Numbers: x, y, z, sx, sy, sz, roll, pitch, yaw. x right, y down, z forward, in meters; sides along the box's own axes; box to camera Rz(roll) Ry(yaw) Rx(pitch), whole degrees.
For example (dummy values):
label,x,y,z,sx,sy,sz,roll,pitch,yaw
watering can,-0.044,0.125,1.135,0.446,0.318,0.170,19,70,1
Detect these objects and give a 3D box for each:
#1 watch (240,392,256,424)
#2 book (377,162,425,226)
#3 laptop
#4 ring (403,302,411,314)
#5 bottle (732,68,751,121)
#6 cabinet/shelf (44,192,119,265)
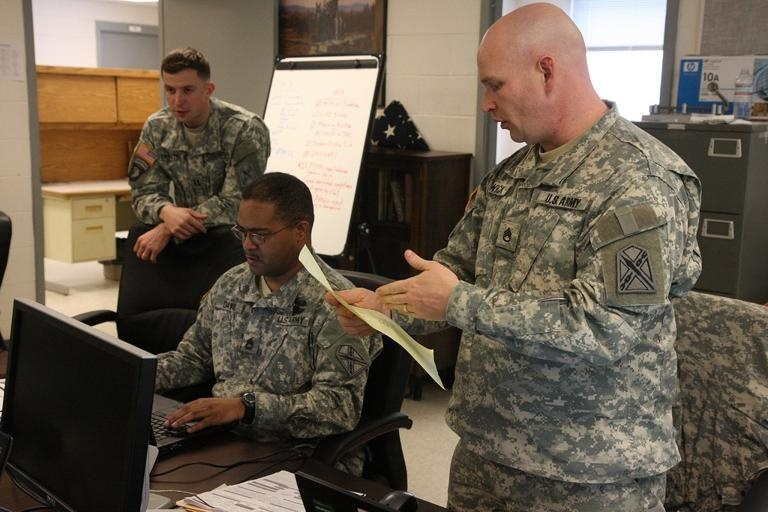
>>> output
label,x,y,z,sx,sy,sz,roll,pitch,yaw
watch,-0.412,0.465,1.851,0.052,0.081,0.083,8,47,-14
book,0.117,-0.397,3.963,0.359,0.352,0.084,6,10,42
laptop,-0.564,0.513,1.772,0.252,0.051,0.271,16,16,41
ring,0.057,0.134,1.528,0.017,0.023,0.009,4,16,22
bottle,2.193,-0.988,3.691,0.098,0.284,0.073,4,8,24
cabinet/shelf,-2.963,-0.267,5.852,0.744,0.544,0.749,1,6,-10
